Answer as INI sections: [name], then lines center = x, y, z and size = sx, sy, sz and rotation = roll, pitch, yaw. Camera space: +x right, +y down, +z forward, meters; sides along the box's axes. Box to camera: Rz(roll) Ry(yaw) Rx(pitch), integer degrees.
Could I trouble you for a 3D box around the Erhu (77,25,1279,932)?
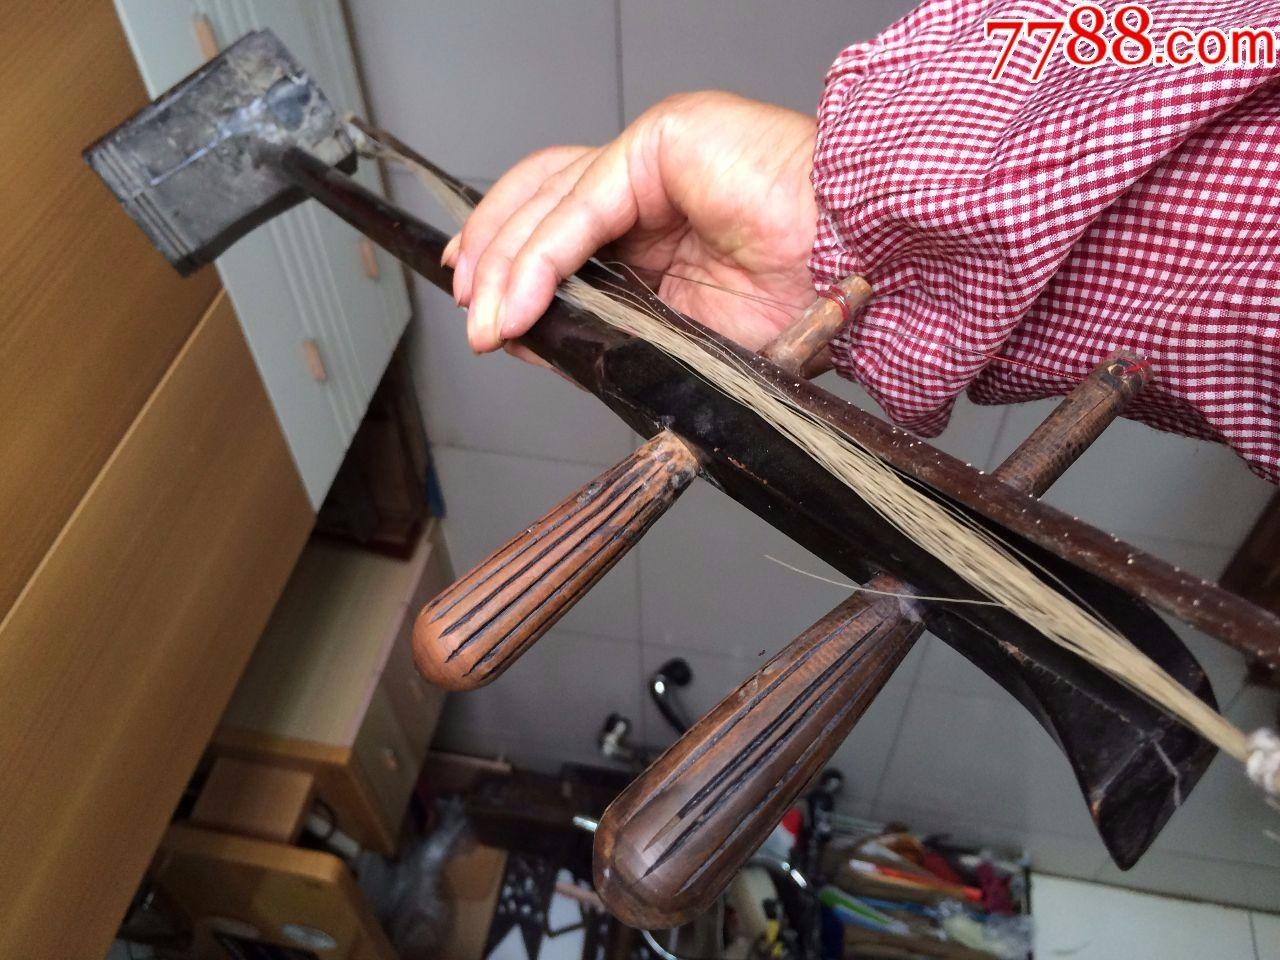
[Erhu]
center = -0.038, 0.062, 1.029
size = 0.985, 0.206, 0.647
rotation = 38, 68, 19
